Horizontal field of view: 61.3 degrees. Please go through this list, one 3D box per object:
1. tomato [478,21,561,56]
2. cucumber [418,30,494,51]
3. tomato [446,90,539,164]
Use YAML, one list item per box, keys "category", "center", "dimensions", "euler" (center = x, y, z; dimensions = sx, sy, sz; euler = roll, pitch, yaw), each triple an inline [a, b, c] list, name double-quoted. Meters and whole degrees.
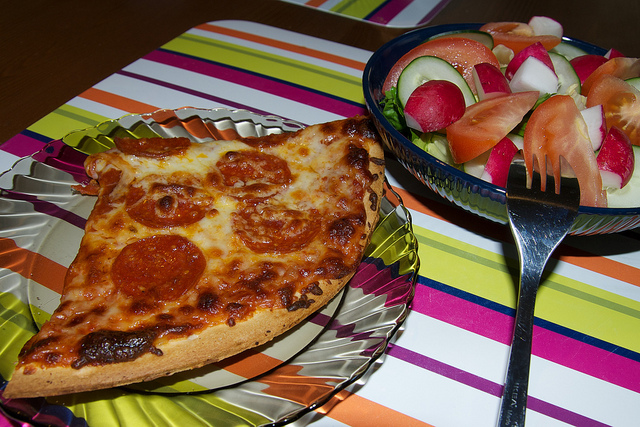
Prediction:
- category: "tomato"
  center: [1.201, -1.091, 3.347]
  dimensions: [0.396, 0.086, 0.289]
  euler: [5, -6, -3]
- category: "cucumber"
  center: [0.845, -1.048, 3.193]
  dimensions: [0.275, 0.043, 0.184]
  euler: [-14, 45, -9]
- category: "tomato"
  center: [0.894, -0.359, 2.678]
  dimensions: [0.415, 0.129, 0.388]
  euler: [-16, 36, 21]
